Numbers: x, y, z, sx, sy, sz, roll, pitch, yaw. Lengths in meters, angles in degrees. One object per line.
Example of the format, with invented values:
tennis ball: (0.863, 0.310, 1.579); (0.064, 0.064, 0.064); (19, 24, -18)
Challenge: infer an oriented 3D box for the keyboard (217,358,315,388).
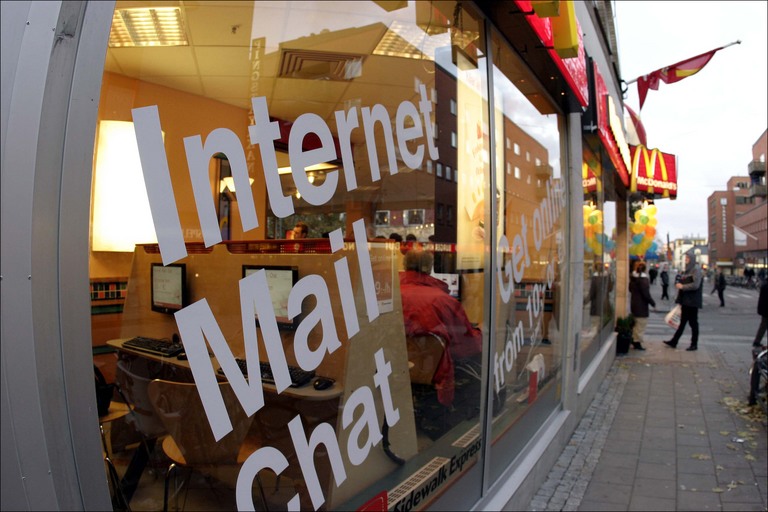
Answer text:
keyboard: (-0.614, 0.734, 3.323); (0.583, 0.232, 0.081); (14, -37, -32)

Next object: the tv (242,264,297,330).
tv: (-0.674, 0.244, 3.281); (0.329, 0.417, 0.158); (5, 7, 23)

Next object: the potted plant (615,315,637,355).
potted plant: (5.202, 1.736, 11.620); (0.320, 0.712, 0.722); (-1, 1, 30)

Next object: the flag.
flag: (4.733, -2.924, 8.822); (0.390, 0.532, 1.419); (-1, 1, -22)

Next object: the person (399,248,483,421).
person: (0.426, 0.620, 4.353); (0.633, 1.296, 0.654); (2, 11, -9)

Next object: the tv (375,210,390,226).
tv: (-0.007, -0.260, 3.605); (0.030, 0.096, 0.124); (0, 1, 42)

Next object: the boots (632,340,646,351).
boots: (5.672, 2.004, 11.900); (0.358, 0.261, 0.132); (-5, 5, -25)
